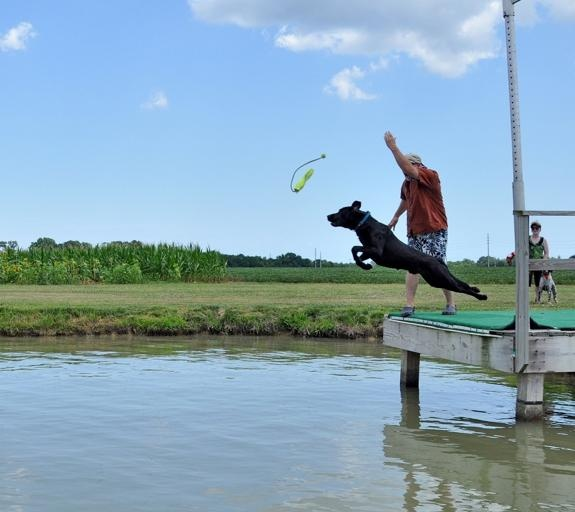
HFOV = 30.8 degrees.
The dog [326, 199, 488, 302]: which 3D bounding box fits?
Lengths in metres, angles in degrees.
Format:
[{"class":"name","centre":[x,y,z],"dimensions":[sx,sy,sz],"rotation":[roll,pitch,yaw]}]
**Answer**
[{"class":"dog","centre":[2.324,0.249,21.444],"dimensions":[3.996,1.227,0.764],"rotation":[22,1,-14]}]
